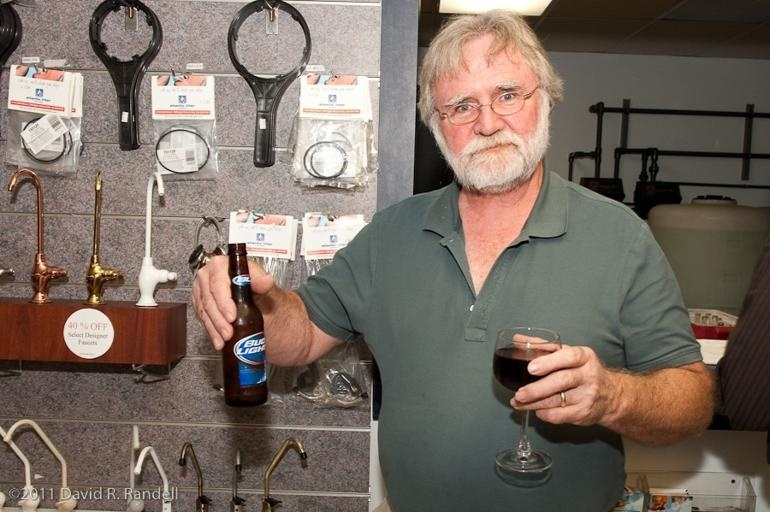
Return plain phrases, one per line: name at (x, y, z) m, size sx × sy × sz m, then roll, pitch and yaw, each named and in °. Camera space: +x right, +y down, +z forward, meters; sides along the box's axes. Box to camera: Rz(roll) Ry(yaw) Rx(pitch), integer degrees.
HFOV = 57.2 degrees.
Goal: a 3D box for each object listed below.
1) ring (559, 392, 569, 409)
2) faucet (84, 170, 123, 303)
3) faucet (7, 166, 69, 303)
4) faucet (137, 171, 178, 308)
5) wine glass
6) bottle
ring at (0.531, 0.424, 2.083) m, size 0.021 × 0.046 × 0.006 m, roll 2°, pitch 5°, yaw 8°
faucet at (-1.167, -0.079, 2.920) m, size 0.138 × 0.539 × 0.178 m, roll 0°, pitch 6°, yaw -18°
faucet at (-1.462, -0.092, 2.914) m, size 0.305 × 0.543 × 0.155 m, roll 2°, pitch 5°, yaw 11°
faucet at (-0.946, -0.075, 2.916) m, size 0.163 × 0.548 × 0.183 m, roll 0°, pitch 5°, yaw -17°
wine glass at (0.437, 0.476, 2.196) m, size 0.196 × 0.519 × 0.276 m, roll 3°, pitch 5°, yaw 12°
bottle at (-0.456, 0.216, 2.293) m, size 0.134 × 0.528 × 0.212 m, roll 0°, pitch 5°, yaw -10°
